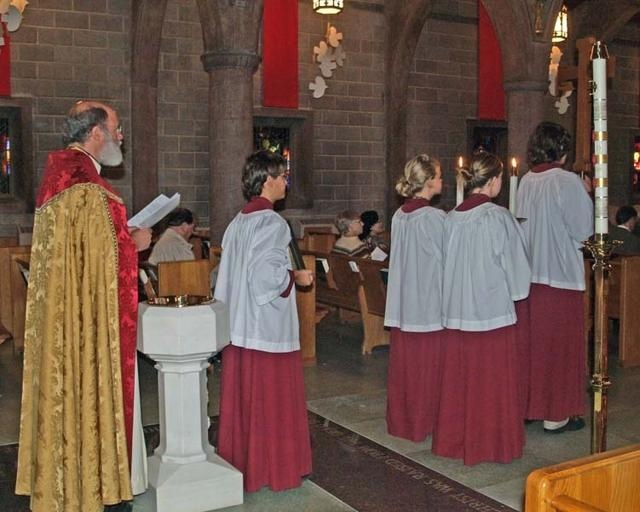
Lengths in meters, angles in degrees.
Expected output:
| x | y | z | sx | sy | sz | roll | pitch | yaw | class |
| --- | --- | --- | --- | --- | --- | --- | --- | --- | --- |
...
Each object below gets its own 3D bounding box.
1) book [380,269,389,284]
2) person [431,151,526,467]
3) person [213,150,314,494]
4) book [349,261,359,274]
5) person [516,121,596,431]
| x | y | z | sx | sy | sz | roll | pitch | yaw | class |
| --- | --- | --- | --- | --- | --- | --- | --- | --- | --- |
| 0.564 | 0.185 | 7.903 | 0.101 | 0.102 | 0.096 | -1 | 3 | -24 | book |
| 1.000 | 0.450 | 5.625 | 0.565 | 1.648 | 0.384 | 2 | 10 | 14 | person |
| -0.362 | 0.387 | 5.310 | 0.584 | 1.991 | 0.437 | 3 | 10 | 21 | person |
| 0.313 | 0.108 | 8.320 | 0.027 | 0.088 | 0.101 | -19 | 18 | -27 | book |
| 1.577 | 0.148 | 6.142 | 0.477 | 2.080 | 0.424 | 1 | 10 | 11 | person |
